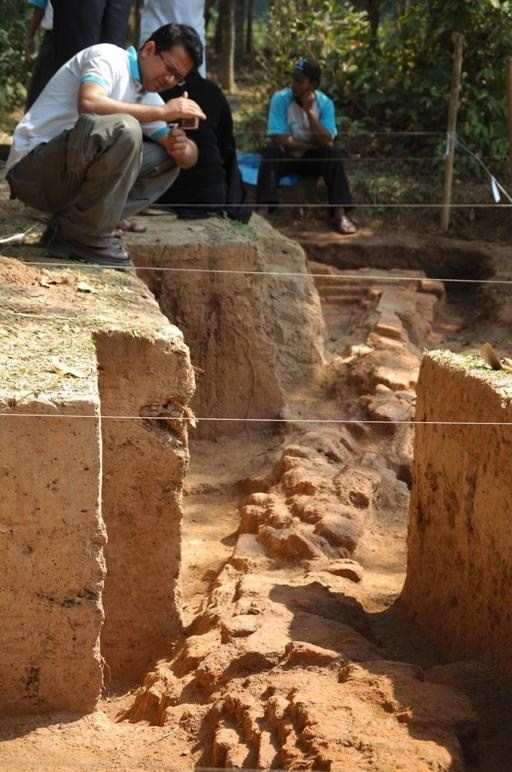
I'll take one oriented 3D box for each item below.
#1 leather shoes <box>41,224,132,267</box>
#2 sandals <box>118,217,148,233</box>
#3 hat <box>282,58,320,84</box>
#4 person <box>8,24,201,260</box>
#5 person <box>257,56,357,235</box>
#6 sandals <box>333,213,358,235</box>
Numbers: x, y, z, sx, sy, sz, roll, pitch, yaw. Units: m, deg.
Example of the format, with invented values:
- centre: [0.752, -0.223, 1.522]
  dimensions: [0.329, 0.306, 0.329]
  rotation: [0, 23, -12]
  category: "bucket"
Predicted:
- centre: [-0.659, -0.541, 4.032]
  dimensions: [0.392, 0.164, 0.135]
  rotation: [3, 33, -11]
  category: "leather shoes"
- centre: [-0.607, -0.762, 4.913]
  dimensions: [0.172, 0.053, 0.075]
  rotation: [2, -18, -21]
  category: "sandals"
- centre: [0.333, -2.109, 6.934]
  dimensions: [0.173, 0.162, 0.253]
  rotation: [6, 8, 9]
  category: "hat"
- centre: [-0.610, -0.951, 4.073]
  dimensions: [0.647, 0.930, 0.533]
  rotation: [12, 11, 40]
  category: "person"
- centre: [0.337, -1.678, 7.459]
  dimensions: [0.678, 1.101, 1.151]
  rotation: [8, 9, 16]
  category: "person"
- centre: [0.681, -1.231, 7.897]
  dimensions: [0.116, 0.090, 0.228]
  rotation: [-9, 20, 1]
  category: "sandals"
